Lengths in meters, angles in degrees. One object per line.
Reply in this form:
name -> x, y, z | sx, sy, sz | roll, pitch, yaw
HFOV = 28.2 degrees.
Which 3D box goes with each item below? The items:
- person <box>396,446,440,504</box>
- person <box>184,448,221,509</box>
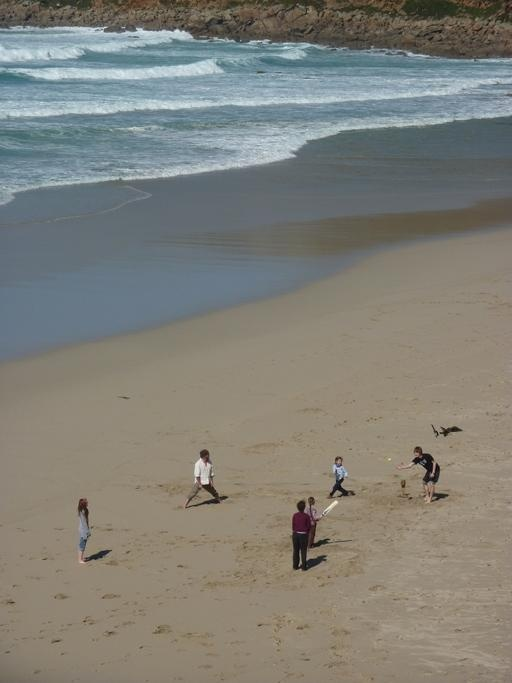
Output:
person -> 2.199, 1.752, 13.674 | 0.491, 0.668, 0.584 | 2, 15, 8
person -> -0.740, 1.794, 13.914 | 0.460, 0.765, 0.670 | -1, 15, -2
